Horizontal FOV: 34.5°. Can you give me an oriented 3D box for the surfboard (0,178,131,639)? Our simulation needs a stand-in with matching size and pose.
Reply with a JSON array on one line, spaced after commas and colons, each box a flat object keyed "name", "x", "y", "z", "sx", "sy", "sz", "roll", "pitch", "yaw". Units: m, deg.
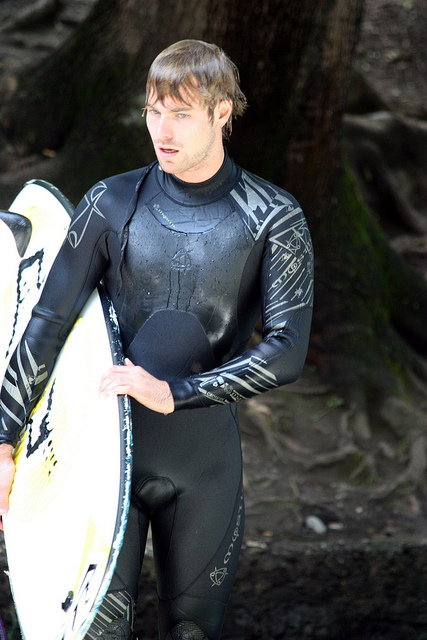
[{"name": "surfboard", "x": -0.437, "y": 0.145, "z": 1.934, "sx": 0.472, "sy": 0.206, "sz": 1.306, "roll": -20, "pitch": 64, "yaw": 21}]
